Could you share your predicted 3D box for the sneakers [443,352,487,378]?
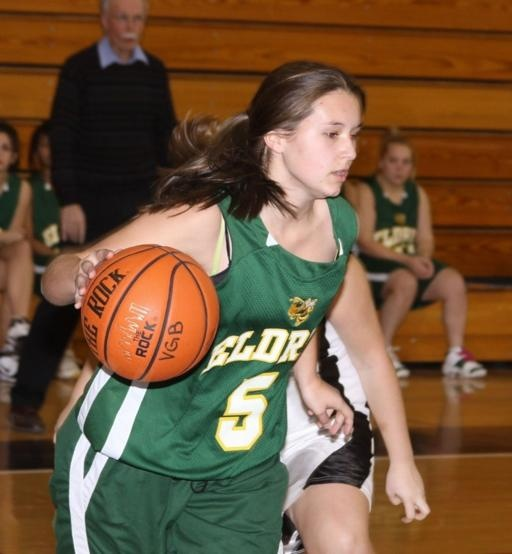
[{"bbox_3d":[1.207,0.512,3.608,0.310,0.161,0.137,1,10,5],"label":"sneakers"}]
